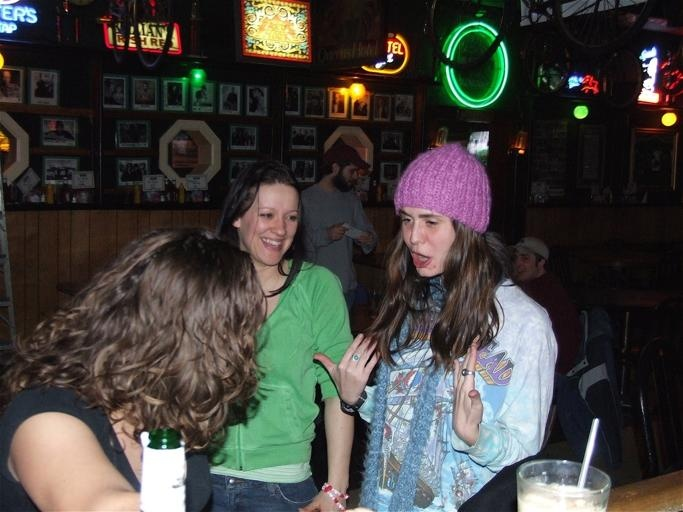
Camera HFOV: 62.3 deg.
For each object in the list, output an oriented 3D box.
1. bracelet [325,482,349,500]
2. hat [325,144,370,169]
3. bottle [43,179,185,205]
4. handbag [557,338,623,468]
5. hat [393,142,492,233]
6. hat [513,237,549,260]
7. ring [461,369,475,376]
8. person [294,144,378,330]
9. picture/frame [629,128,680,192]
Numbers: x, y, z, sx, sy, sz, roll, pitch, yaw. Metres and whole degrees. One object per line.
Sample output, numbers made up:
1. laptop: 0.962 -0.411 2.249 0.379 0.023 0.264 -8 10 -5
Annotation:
1. bracelet: -0.014 0.837 2.017 0.070 0.029 0.054 24 0 -2
2. hat: 0.029 -0.897 5.069 0.293 0.183 0.217 1 5 -10
3. bottle: -2.478 -0.675 6.183 1.460 0.289 0.320 -1 2 -28
4. handbag: 1.369 0.807 3.084 0.202 0.706 0.539 0 7 2
5. hat: 0.362 -0.197 2.007 0.283 0.284 0.298 10 2 7
6. hat: 1.494 -0.069 4.391 0.223 0.134 0.165 28 -1 -19
7. ring: 0.364 0.335 1.613 0.032 0.024 0.044 0 2 12
8. person: -0.026 -0.002 5.326 0.754 2.094 0.582 -16 25 -34
9. picture/frame: 4.911 -1.508 8.879 0.897 0.997 0.123 7 -6 -28
